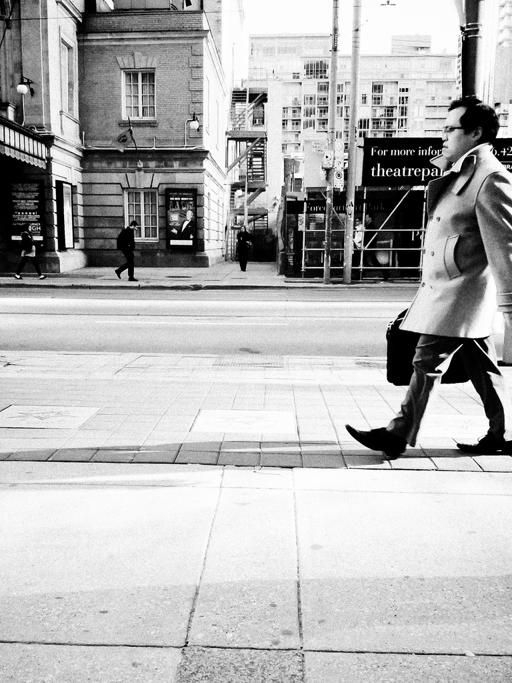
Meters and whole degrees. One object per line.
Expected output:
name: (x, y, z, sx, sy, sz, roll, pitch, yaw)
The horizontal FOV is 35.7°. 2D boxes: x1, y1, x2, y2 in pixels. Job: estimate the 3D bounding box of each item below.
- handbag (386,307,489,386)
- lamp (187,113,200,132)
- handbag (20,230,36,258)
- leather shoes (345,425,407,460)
handbag: (0.979, 0.016, 4.471, 0.448, 0.550, 0.365, -1, 7, -12)
lamp: (-2.240, -7.906, 28.346, 0.437, 0.637, 0.386, -1, 8, -1)
handbag: (-6.302, -2.715, 21.903, 0.286, 0.720, 0.543, -2, 9, -11)
leather shoes: (0.675, 0.562, 4.417, 0.255, 0.114, 0.084, 28, 17, 22)
